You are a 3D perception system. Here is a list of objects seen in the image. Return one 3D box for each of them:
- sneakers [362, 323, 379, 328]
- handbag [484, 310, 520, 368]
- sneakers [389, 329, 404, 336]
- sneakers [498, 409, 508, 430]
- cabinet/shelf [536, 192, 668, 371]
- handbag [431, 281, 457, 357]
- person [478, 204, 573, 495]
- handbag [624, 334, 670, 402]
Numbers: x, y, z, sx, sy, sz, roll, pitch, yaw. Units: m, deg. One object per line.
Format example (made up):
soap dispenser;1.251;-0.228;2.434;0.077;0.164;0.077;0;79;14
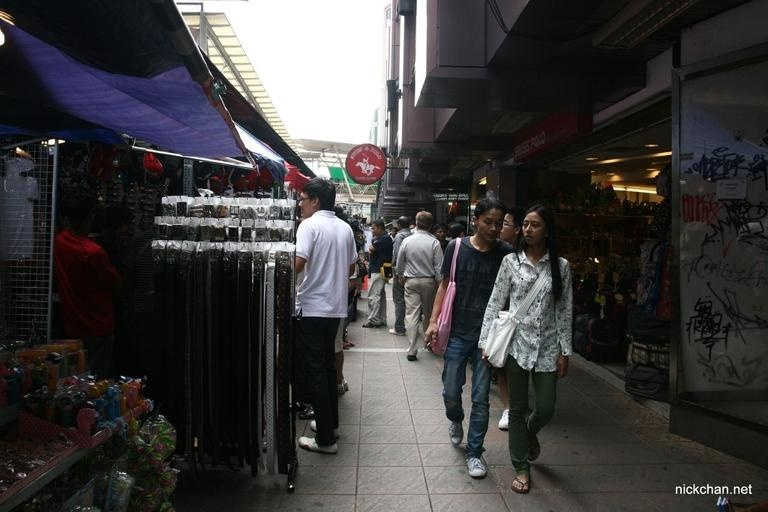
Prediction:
sneakers;-0.257;1.398;10.728;0.321;0.143;0.124;5;-1;7
handbag;0.941;0.660;4.306;0.206;0.421;0.222;-6;10;-38
sneakers;0.246;1.425;9.928;0.242;0.100;0.096;3;1;33
sneakers;1.208;1.674;5.413;0.104;0.128;0.305;-1;-8;12
cabinet/shelf;3.002;0.360;7.076;1.233;2.423;2.598;1;-3;10
handbag;0.529;0.541;4.650;0.127;0.634;0.212;6;9;34
person;1.158;0.744;4.339;0.727;2.271;0.507;2;8;12
handbag;2.972;1.334;5.971;0.427;0.645;0.628;4;9;25
